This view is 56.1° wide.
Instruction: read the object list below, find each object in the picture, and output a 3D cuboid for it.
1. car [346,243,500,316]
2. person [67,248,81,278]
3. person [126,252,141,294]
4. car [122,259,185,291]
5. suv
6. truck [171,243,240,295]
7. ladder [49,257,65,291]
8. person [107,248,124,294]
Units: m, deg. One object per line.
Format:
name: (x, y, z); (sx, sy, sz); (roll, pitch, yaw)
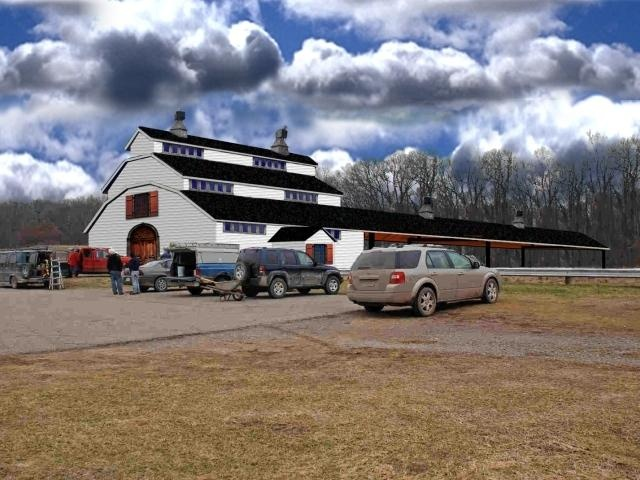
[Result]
car: (2.936, 1.043, 17.010); (3.765, 1.478, 1.789); (-4, 1, -43)
person: (-15.613, 1.455, 38.225); (0.675, 1.646, 0.868); (-1, 2, -23)
person: (-7.700, 1.508, 25.077); (0.379, 1.539, 1.053); (-1, 2, -18)
car: (-7.791, 1.700, 27.354); (3.404, 1.272, 1.520); (-3, 1, -33)
suv: (-1.477, 1.185, 22.748); (3.562, 1.655, 1.745); (-2, 0, -38)
truck: (-3.850, 1.187, 24.780); (3.357, 2.014, 1.782); (-2, -3, -31)
ladder: (-12.986, 1.680, 29.585); (0.586, 1.473, 1.748); (-2, 2, -24)
person: (-8.744, 1.386, 25.810); (0.612, 1.726, 2.949); (-1, 2, -18)
